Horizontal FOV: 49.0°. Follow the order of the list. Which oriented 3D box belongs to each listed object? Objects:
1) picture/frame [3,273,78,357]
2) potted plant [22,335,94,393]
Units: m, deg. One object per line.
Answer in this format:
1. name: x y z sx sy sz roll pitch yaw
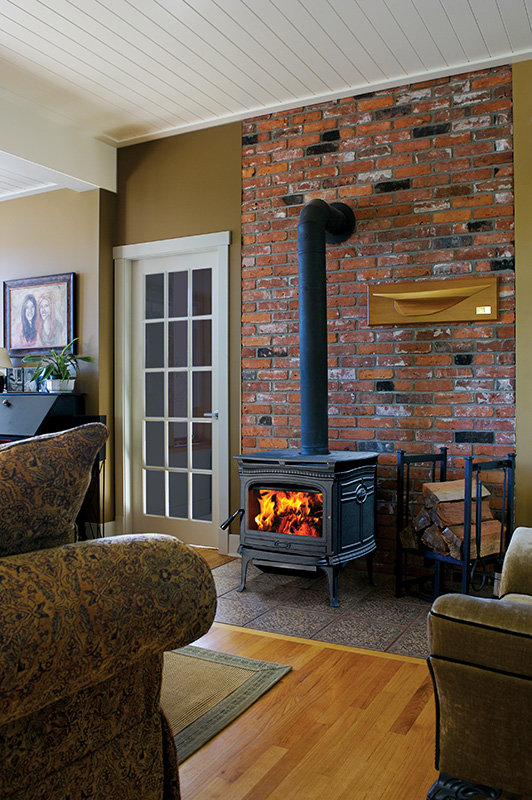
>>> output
1. picture/frame: -1.695 -0.658 4.465 0.675 0.520 0.029 1 1 35
2. potted plant: -1.484 -0.214 4.156 0.338 0.309 0.423 -5 9 2
